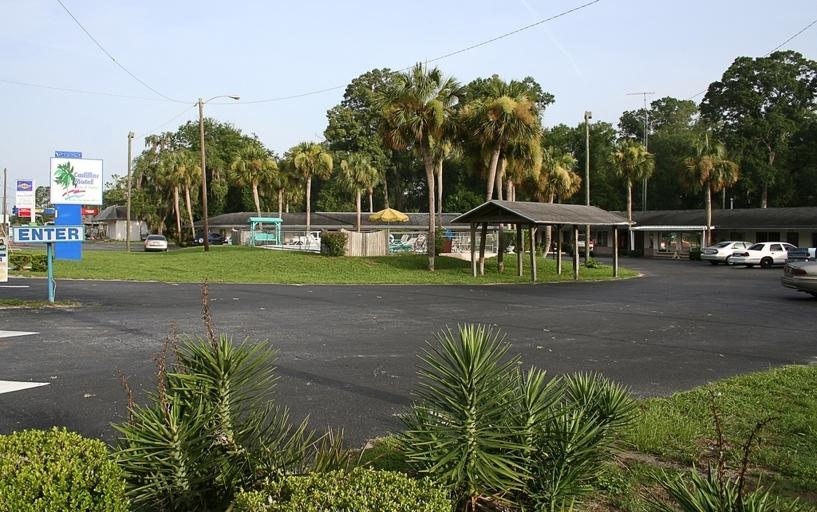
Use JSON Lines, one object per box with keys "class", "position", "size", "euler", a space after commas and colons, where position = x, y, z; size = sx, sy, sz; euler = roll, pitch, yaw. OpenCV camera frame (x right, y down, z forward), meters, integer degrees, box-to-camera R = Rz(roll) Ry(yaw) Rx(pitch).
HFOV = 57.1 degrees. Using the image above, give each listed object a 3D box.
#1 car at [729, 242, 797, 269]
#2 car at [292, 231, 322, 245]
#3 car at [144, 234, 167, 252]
{"class": "car", "position": [21.806, -0.094, 46.137], "size": [3.646, 1.077, 1.636], "euler": [-4, 4, -10]}
{"class": "car", "position": [-7.203, -1.185, 52.055], "size": [2.231, 1.226, 1.460], "euler": [3, 0, 0]}
{"class": "car", "position": [-19.451, -0.988, 57.910], "size": [1.196, 0.925, 2.824], "euler": [0, 10, -18]}
